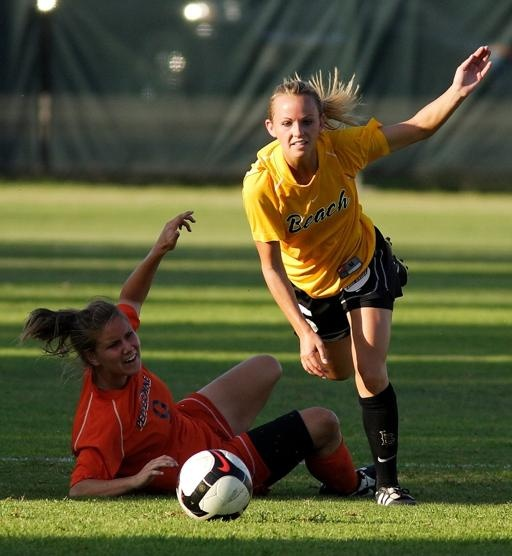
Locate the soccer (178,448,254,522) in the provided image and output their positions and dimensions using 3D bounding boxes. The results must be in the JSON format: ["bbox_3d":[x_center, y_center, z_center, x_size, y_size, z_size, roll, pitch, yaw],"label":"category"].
[{"bbox_3d":[-0.142,0.763,3.575,0.236,0.228,0.200,-6,11,-42],"label":"soccer"}]

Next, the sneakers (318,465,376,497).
[{"bbox_3d":[0.395,0.855,4.077,0.319,0.098,0.092,3,-5,-10],"label":"sneakers"}]

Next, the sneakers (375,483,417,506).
[{"bbox_3d":[0.569,0.874,3.927,0.155,0.074,0.213,2,7,4],"label":"sneakers"}]
